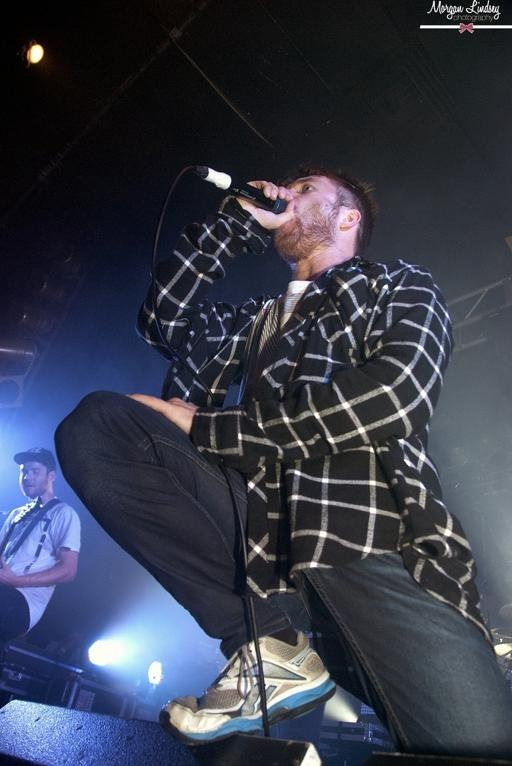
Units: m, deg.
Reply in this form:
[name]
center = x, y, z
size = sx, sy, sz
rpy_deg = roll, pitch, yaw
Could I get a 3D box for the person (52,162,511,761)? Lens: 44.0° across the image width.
[person]
center = 0.065, -0.036, 1.733
size = 0.961, 1.768, 0.537
rpy_deg = -2, -26, 8

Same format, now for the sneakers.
[sneakers]
center = -0.022, 0.657, 1.380
size = 0.419, 0.178, 0.143
rpy_deg = 3, -38, -36

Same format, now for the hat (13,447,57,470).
[hat]
center = -1.661, 0.558, 4.766
size = 0.174, 0.121, 0.250
rpy_deg = -4, -31, 42
